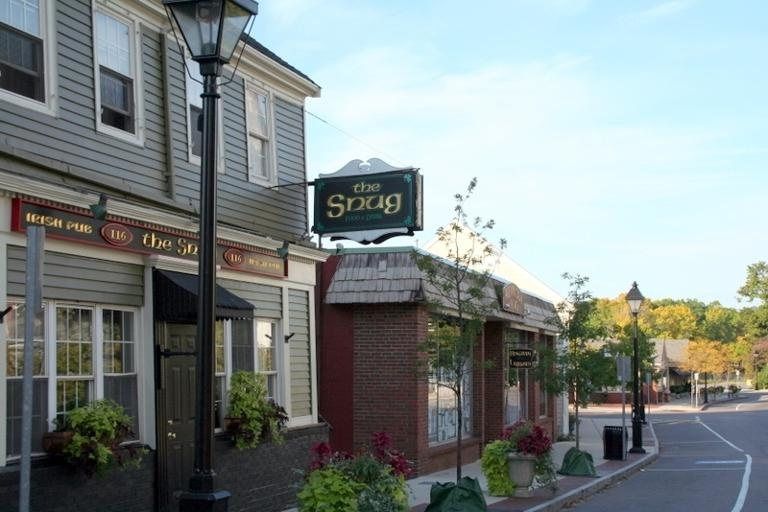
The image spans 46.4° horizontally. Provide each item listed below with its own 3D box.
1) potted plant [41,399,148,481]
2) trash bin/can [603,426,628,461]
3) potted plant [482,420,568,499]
[{"bbox_3d":[-4.792,2.954,14.546,1.156,1.004,1.490,22,-23,-27],"label":"potted plant"},{"bbox_3d":[7.197,5.739,27.683,0.772,1.027,0.826,-1,-3,34],"label":"trash bin/can"},{"bbox_3d":[3.059,4.696,20.742,1.425,1.571,1.485,5,6,22],"label":"potted plant"}]
